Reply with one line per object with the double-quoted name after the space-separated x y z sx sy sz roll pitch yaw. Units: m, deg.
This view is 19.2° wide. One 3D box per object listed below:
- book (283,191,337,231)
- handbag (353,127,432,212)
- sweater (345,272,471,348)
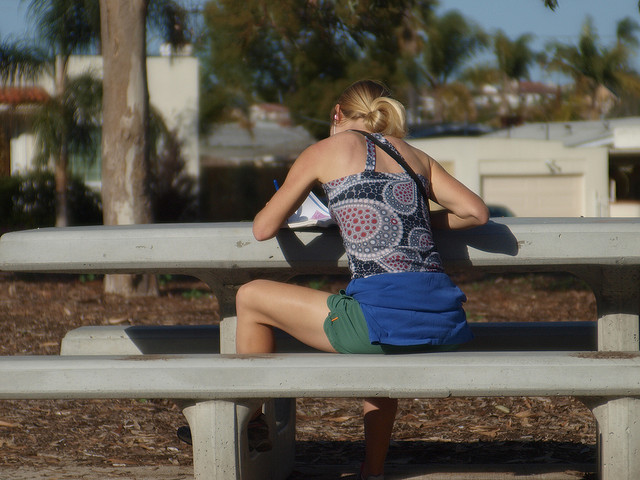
-0.105 -0.331 19.410 0.397 0.401 0.513 4 4 11 "book"
0.742 -0.699 19.298 0.557 0.884 0.566 0 7 -26 "handbag"
0.849 0.681 19.822 1.225 0.796 1.633 1 2 -27 "sweater"
